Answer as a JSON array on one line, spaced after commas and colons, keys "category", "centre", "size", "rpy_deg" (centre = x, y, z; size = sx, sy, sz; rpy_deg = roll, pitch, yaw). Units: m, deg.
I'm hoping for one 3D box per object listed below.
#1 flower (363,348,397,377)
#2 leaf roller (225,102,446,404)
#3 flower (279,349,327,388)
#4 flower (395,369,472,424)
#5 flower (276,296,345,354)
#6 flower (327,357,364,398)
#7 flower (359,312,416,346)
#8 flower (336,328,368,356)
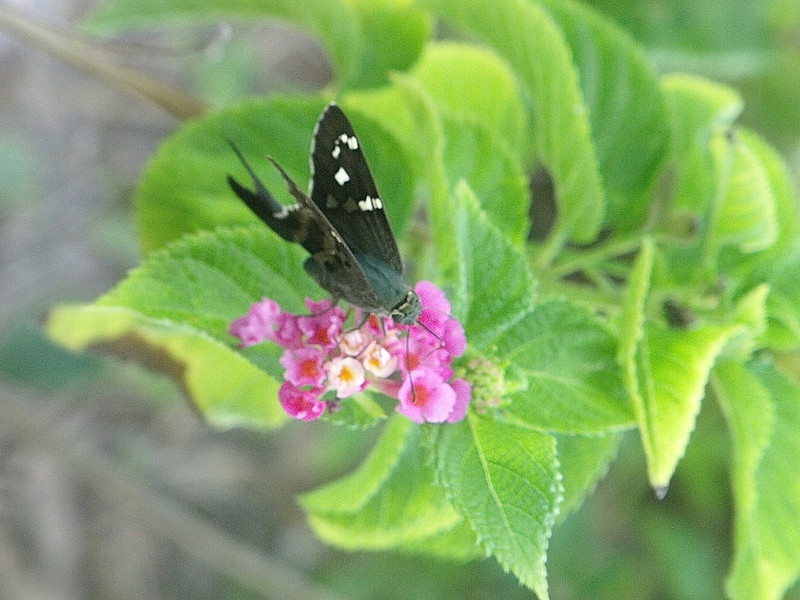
[{"category": "flower", "centre": [-0.016, 0.049, 0.685], "size": [0.028, 0.017, 0.021], "rpy_deg": [22, 75, 2]}, {"category": "leaf roller", "centre": [-0.047, -0.048, 0.789], "size": [0.213, 0.227, 0.201], "rpy_deg": [-14, 42, -17]}, {"category": "flower", "centre": [-0.077, 0.053, 0.686], "size": [0.034, 0.008, 0.031], "rpy_deg": [-1, 76, -4]}, {"category": "flower", "centre": [0.026, 0.080, 0.696], "size": [0.057, 0.039, 0.043], "rpy_deg": [14, 75, 0]}, {"category": "flower", "centre": [-0.074, 0.023, 0.699], "size": [0.044, 0.018, 0.047], "rpy_deg": [-17, 65, 1]}, {"category": "flower", "centre": [-0.043, 0.060, 0.686], "size": [0.030, 0.020, 0.031], "rpy_deg": [-15, 77, -7]}, {"category": "flower", "centre": [-0.014, 0.023, 0.698], "size": [0.027, 0.008, 0.028], "rpy_deg": [18, 52, -2]}, {"category": "flower", "centre": [-0.036, 0.034, 0.689], "size": [0.026, 0.011, 0.022], "rpy_deg": [-27, 79, -10]}]
